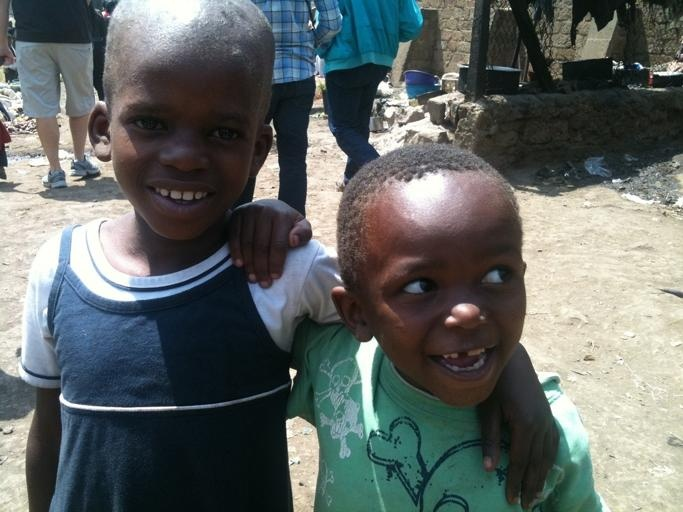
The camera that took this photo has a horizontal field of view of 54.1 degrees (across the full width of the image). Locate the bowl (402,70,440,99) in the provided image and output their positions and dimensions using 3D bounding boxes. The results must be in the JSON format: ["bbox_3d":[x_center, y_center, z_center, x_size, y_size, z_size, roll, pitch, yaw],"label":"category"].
[{"bbox_3d":[1.164,-2.369,9.282,0.528,0.356,0.518,1,0,0],"label":"bowl"}]

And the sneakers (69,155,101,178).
[{"bbox_3d":[-2.415,-0.833,6.320,0.139,0.173,0.345,10,15,29],"label":"sneakers"}]

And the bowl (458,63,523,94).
[{"bbox_3d":[1.609,-1.917,7.312,0.660,0.229,0.490,3,14,16],"label":"bowl"}]

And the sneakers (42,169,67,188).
[{"bbox_3d":[-2.527,-0.684,5.928,0.116,0.120,0.285,-7,13,-30],"label":"sneakers"}]
